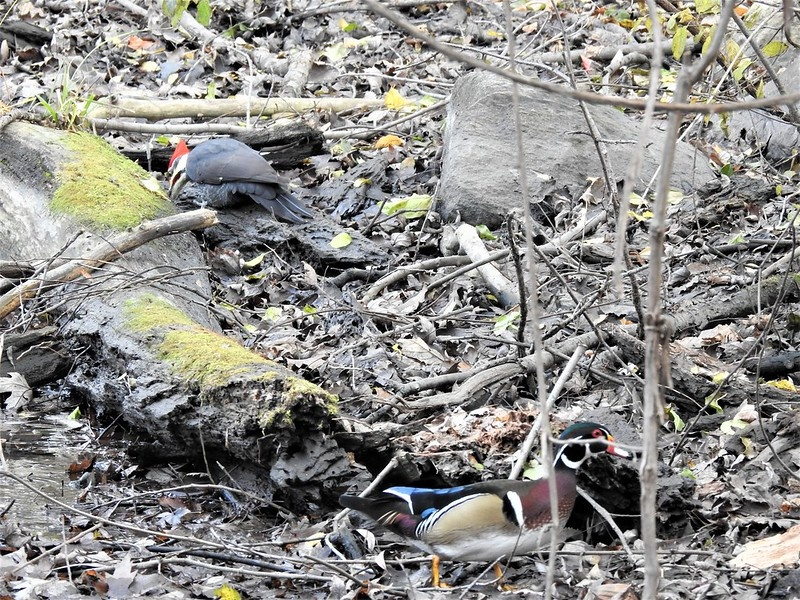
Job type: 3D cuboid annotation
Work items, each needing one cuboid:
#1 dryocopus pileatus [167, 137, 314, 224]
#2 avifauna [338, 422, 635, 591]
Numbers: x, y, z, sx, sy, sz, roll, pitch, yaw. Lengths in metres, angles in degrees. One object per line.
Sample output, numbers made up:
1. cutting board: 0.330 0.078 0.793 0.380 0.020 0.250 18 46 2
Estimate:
1. dryocopus pileatus: -1.256 -0.974 8.861 1.553 0.518 0.508 10 25 39
2. avifauna: 0.185 1.081 6.325 2.166 0.942 0.543 -1 -4 11
